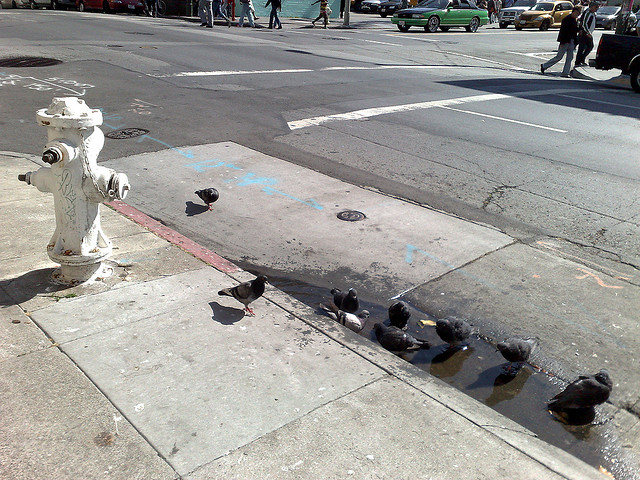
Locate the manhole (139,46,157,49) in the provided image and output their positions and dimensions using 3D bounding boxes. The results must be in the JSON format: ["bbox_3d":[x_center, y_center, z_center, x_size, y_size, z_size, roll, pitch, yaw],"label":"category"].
[{"bbox_3d":[-6.630,-7.451,20.110,0.530,0.055,0.766,-3,24,-10],"label":"manhole"}]

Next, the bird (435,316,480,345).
[{"bbox_3d":[1.514,0.934,5.419,0.529,0.297,0.227,-10,49,16],"label":"bird"}]

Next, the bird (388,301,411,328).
[{"bbox_3d":[0.884,0.784,5.675,0.296,0.247,0.291,8,7,10],"label":"bird"}]

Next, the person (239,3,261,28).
[{"bbox_3d":[-4.502,-14.015,32.412,1.577,1.396,1.132,-11,33,-22],"label":"person"}]

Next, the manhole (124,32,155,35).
[{"bbox_3d":[-8.390,-9.594,24.124,0.682,0.068,1.097,19,30,35],"label":"manhole"}]

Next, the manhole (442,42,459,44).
[{"bbox_3d":[7.674,-11.348,29.918,0.548,0.049,1.096,23,32,40],"label":"manhole"}]

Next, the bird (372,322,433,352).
[{"bbox_3d":[0.860,1.026,5.439,0.600,0.261,0.290,4,29,5],"label":"bird"}]

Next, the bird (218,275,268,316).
[{"bbox_3d":[-0.804,0.541,5.535,0.648,0.384,0.226,8,5,39],"label":"bird"}]

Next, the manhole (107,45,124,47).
[{"bbox_3d":[-7.796,-7.436,19.898,0.520,0.036,0.574,-6,25,-16],"label":"manhole"}]

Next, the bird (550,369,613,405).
[{"bbox_3d":[2.387,1.346,4.743,0.629,0.255,0.303,-7,16,-14],"label":"bird"}]

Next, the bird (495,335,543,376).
[{"bbox_3d":[2.035,1.131,5.285,0.659,0.284,0.179,-7,15,-22],"label":"bird"}]

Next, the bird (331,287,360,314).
[{"bbox_3d":[0.298,0.640,5.891,0.229,0.201,0.380,-6,18,-25],"label":"bird"}]

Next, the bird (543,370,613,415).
[{"bbox_3d":[2.402,1.365,4.772,0.694,0.275,0.314,-12,11,7],"label":"bird"}]

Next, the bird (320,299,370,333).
[{"bbox_3d":[0.284,0.827,5.729,0.594,0.239,0.315,29,72,-1],"label":"bird"}]

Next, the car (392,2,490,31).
[{"bbox_3d":[8.431,-15.143,35.155,6.562,1.821,1.468,-13,34,-29],"label":"car"}]

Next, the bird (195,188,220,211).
[{"bbox_3d":[-1.606,-0.631,7.694,0.190,0.299,0.429,-23,56,-36],"label":"bird"}]
